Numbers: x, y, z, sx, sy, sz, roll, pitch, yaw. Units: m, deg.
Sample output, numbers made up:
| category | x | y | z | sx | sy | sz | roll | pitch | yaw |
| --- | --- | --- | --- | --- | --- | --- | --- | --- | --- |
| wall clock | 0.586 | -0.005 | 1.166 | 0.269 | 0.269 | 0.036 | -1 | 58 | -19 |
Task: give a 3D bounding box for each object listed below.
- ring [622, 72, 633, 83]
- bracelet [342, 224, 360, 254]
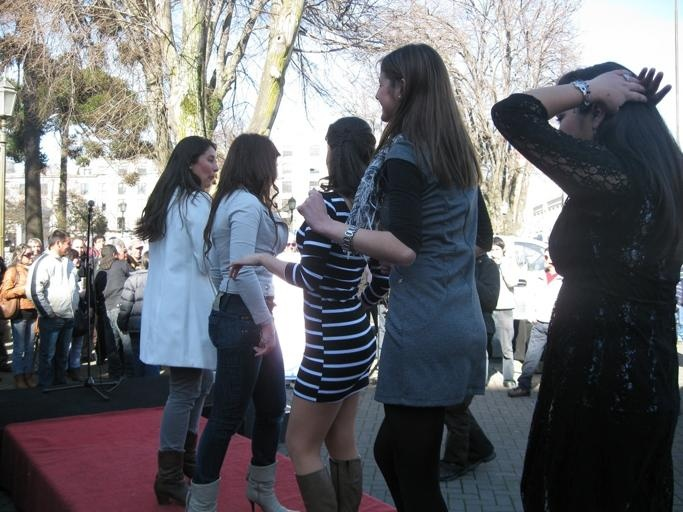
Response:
| category | x | y | z | sx | sy | sz | roll | pitch | yaw |
| --- | --- | --- | --- | --- | --- | --- | --- | --- | --- |
| ring | 1.047 | -0.666 | 2.050 | 0.037 | 0.028 | 0.048 | -5 | 23 | -13 |
| bracelet | 0.031 | -0.070 | 2.206 | 0.065 | 0.116 | 0.098 | 1 | 16 | -11 |
